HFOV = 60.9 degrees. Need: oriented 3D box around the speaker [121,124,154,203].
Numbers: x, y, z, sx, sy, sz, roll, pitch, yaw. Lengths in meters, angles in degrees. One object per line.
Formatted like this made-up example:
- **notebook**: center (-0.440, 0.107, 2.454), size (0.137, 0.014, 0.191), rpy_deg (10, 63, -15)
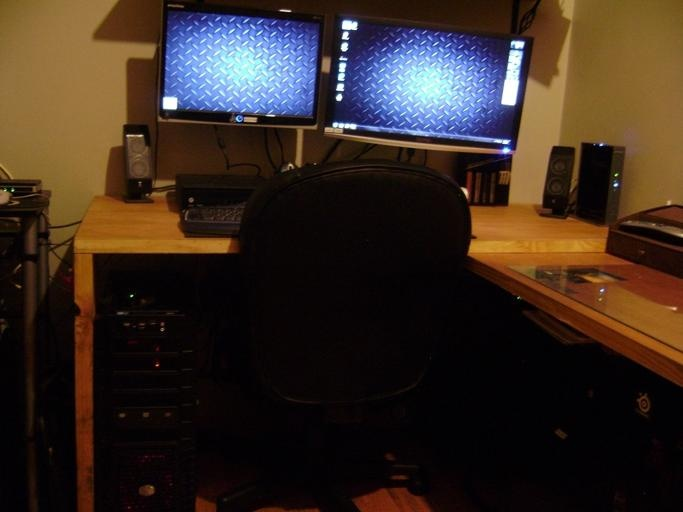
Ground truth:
- **speaker**: center (-0.798, -0.367, 2.283), size (0.099, 0.285, 0.128), rpy_deg (-3, 15, -20)
